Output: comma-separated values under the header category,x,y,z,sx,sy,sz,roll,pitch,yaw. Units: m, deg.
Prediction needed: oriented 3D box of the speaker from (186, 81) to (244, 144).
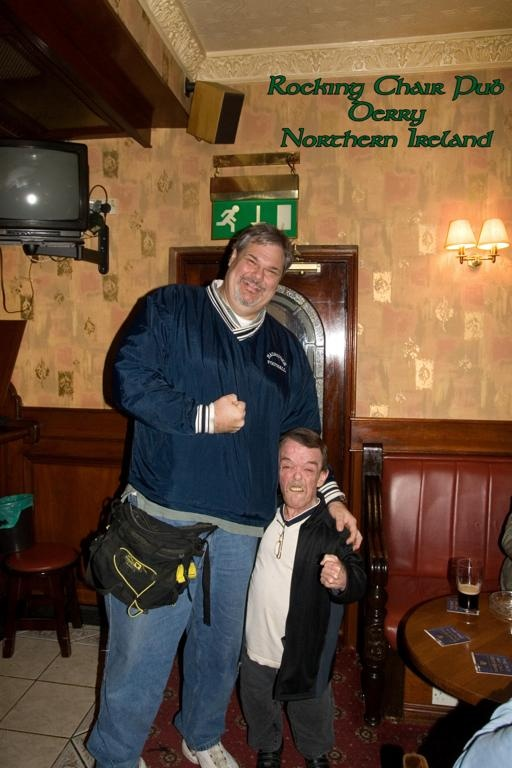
category,x,y,z,sx,sy,sz,roll,pitch,yaw
speaker,-0.208,-1.504,3.220,0.169,0.317,0.236,20,23,18

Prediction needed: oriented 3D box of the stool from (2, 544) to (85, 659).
category,x,y,z,sx,sy,sz,roll,pitch,yaw
stool,-1.067,1.129,3.186,0.498,0.612,0.467,0,2,-7

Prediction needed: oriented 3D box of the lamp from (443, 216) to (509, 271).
category,x,y,z,sx,sy,sz,roll,pitch,yaw
lamp,1.185,-0.738,3.135,0.358,0.293,0.247,-1,-4,-1

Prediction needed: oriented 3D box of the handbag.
category,x,y,z,sx,sy,sz,roll,pitch,yaw
handbag,-0.363,0.592,1.846,0.303,0.344,0.347,7,-17,17
